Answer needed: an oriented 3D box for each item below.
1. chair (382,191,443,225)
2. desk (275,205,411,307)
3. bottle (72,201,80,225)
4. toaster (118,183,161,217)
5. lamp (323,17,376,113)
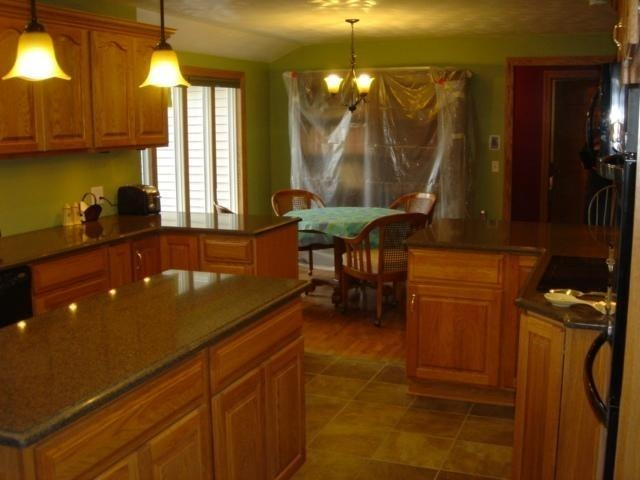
[{"bbox_3d":[1.055,-0.389,5.994,0.410,0.550,0.405,5,2,44],"label":"chair"},{"bbox_3d":[0.149,0.011,5.910,1.286,0.771,1.338,7,17,3],"label":"desk"},{"bbox_3d":[-1.912,-0.211,4.287,0.068,0.153,0.179,-5,13,-24],"label":"bottle"},{"bbox_3d":[-1.554,-0.350,4.734,0.334,0.259,0.279,4,9,20],"label":"toaster"},{"bbox_3d":[0.362,-1.813,5.679,0.552,0.927,0.512,5,12,22],"label":"lamp"}]
